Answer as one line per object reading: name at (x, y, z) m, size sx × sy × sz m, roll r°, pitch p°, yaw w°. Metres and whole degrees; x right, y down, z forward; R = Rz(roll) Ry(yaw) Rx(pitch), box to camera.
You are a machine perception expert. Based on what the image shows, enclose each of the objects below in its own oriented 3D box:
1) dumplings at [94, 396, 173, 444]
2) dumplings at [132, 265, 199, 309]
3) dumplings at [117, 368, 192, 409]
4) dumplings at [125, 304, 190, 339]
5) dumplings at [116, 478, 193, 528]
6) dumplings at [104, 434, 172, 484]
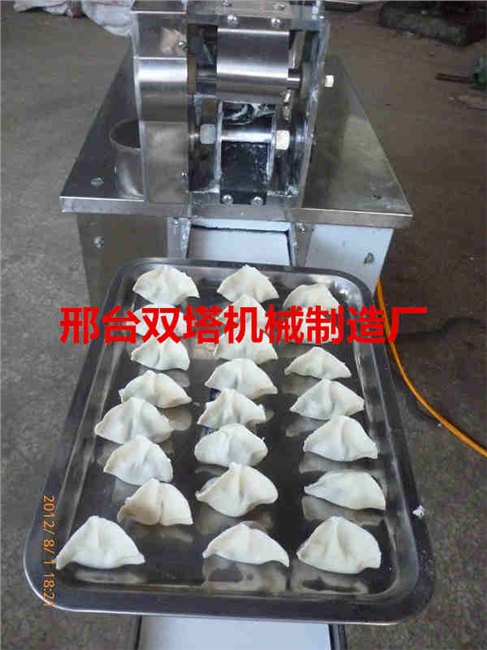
dumplings at (-0.164, 0.135, 0.817) m, size 0.120 × 0.049 × 0.090 m, roll 2°, pitch 16°, yaw 0°
dumplings at (-0.130, -0.066, 1.029) m, size 0.090 × 0.022 × 0.083 m, roll 30°, pitch 52°, yaw 8°
dumplings at (-0.129, 0.100, 0.852) m, size 0.085 × 0.033 × 0.058 m, roll -2°, pitch 29°, yaw -12°
dumplings at (-0.149, -0.007, 0.977) m, size 0.073 × 0.020 × 0.072 m, roll 13°, pitch 54°, yaw 0°
dumplings at (-0.104, 0.222, 0.719) m, size 0.096 × 0.039 × 0.075 m, roll 5°, pitch 32°, yaw 2°
dumplings at (-0.143, 0.180, 0.766) m, size 0.111 × 0.040 × 0.077 m, roll 5°, pitch 11°, yaw 19°
